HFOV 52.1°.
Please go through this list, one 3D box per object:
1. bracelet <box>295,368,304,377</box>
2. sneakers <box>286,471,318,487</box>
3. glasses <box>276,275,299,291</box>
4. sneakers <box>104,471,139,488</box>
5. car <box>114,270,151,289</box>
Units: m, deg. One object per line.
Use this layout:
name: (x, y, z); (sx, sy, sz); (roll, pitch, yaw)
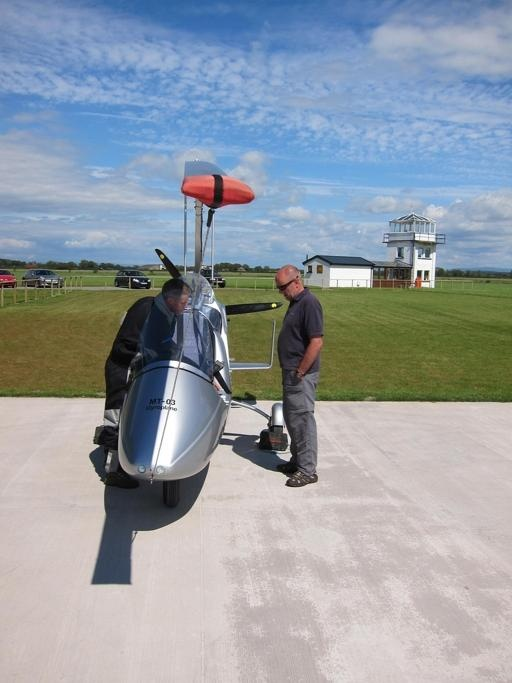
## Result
bracelet: (0.360, 0.261, 4.354); (0.059, 0.027, 0.076); (-1, -22, -3)
sneakers: (0.372, 1.162, 4.446); (0.291, 0.121, 0.104); (4, -5, -24)
glasses: (0.256, -0.496, 4.443); (0.119, 0.035, 0.116); (-35, 16, -33)
sneakers: (-1.079, 1.126, 4.281); (0.311, 0.126, 0.108); (8, 46, -4)
car: (-9.666, -4.773, 40.702); (1.422, 1.070, 2.863); (-2, 12, -37)
